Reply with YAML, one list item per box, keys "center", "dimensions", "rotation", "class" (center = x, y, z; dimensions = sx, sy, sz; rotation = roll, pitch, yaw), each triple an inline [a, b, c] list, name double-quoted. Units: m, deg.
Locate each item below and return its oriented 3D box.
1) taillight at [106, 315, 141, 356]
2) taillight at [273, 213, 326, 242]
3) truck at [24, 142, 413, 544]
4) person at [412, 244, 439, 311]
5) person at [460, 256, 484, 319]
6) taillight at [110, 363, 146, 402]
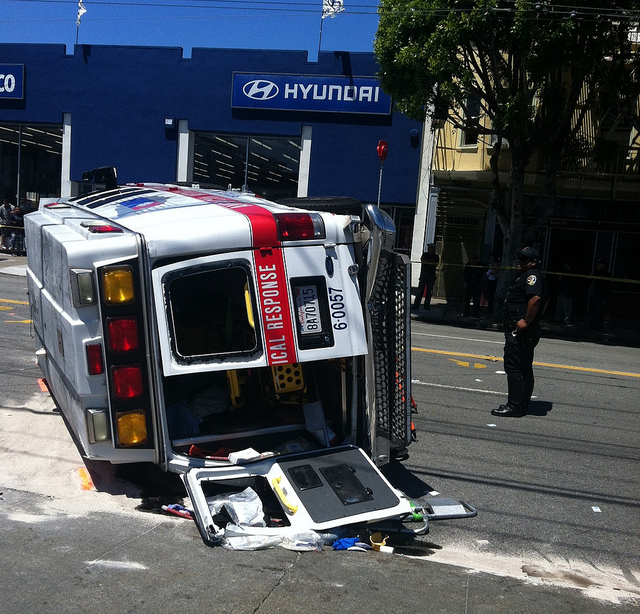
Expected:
- center: [-1.459, 0.224, 6.038]
  dimensions: [0.275, 0.416, 0.044]
  rotation: [-4, -28, -15]
  class: "taillight"
- center: [-0.158, -0.613, 6.344]
  dimensions: [0.302, 0.256, 0.154]
  rotation: [-6, -6, -16]
  class: "taillight"
- center: [-0.906, 0.228, 6.856]
  dimensions: [1.969, 1.756, 3.577]
  rotation: [-4, 21, -23]
  class: "truck"
- center: [2.551, -0.680, 19.593]
  dimensions: [0.547, 1.575, 1.770]
  rotation: [4, 9, 7]
  class: "person"
- center: [3.616, -0.471, 19.217]
  dimensions: [0.455, 1.361, 1.642]
  rotation: [5, 9, 10]
  class: "person"
- center: [-1.447, 0.556, 6.061]
  dimensions: [0.240, 0.309, 0.045]
  rotation: [-5, 6, -31]
  class: "taillight"
